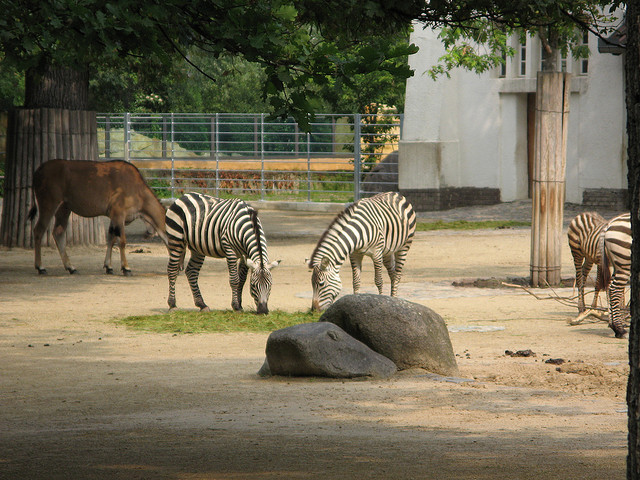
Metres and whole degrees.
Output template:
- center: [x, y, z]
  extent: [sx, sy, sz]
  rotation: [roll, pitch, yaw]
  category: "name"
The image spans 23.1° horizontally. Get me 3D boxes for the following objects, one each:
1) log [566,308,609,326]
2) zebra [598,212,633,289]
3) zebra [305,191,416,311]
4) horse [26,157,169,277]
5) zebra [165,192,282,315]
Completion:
- center: [4.040, 1.101, 23.705]
  extent: [0.776, 0.226, 0.344]
  rotation: [-2, 4, -23]
  category: "log"
- center: [4.365, 0.146, 23.239]
  extent: [0.421, 1.131, 1.305]
  rotation: [0, 3, 7]
  category: "zebra"
- center: [0.727, 0.139, 24.888]
  extent: [0.937, 1.715, 3.102]
  rotation: [5, 14, 32]
  category: "zebra"
- center: [-3.982, -0.482, 28.231]
  extent: [2.244, 2.032, 1.779]
  rotation: [-1, 3, -11]
  category: "horse"
- center: [-1.512, 0.166, 24.108]
  extent: [1.925, 1.789, 0.809]
  rotation: [2, 4, 39]
  category: "zebra"
